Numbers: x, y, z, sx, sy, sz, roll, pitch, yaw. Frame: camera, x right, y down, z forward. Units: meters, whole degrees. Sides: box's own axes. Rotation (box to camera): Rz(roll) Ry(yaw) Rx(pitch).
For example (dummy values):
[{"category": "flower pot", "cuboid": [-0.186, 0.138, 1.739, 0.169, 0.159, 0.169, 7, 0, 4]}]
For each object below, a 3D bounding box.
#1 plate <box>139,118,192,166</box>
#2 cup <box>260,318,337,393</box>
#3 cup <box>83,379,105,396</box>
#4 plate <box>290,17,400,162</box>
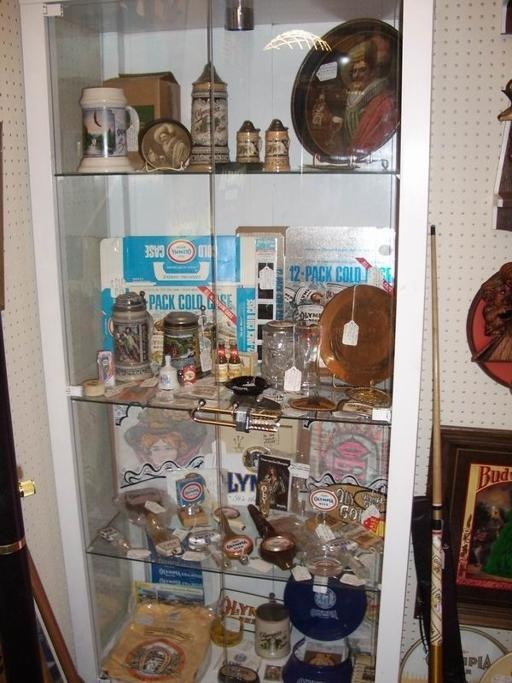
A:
[{"category": "plate", "cuboid": [-0.227, -0.526, 1.566, 0.127, 0.128, 0.128, -7, 25, 15]}, {"category": "cup", "cuboid": [0.093, 0.027, 1.592, 0.125, 0.223, 0.220, -9, 20, -35]}, {"category": "cup", "cuboid": [-0.445, 0.125, 1.544, 0.040, 0.024, 0.041, 2, 16, -1]}, {"category": "plate", "cuboid": [0.214, -0.576, 1.335, 0.063, 0.277, 0.272, -13, 31, -41]}]
